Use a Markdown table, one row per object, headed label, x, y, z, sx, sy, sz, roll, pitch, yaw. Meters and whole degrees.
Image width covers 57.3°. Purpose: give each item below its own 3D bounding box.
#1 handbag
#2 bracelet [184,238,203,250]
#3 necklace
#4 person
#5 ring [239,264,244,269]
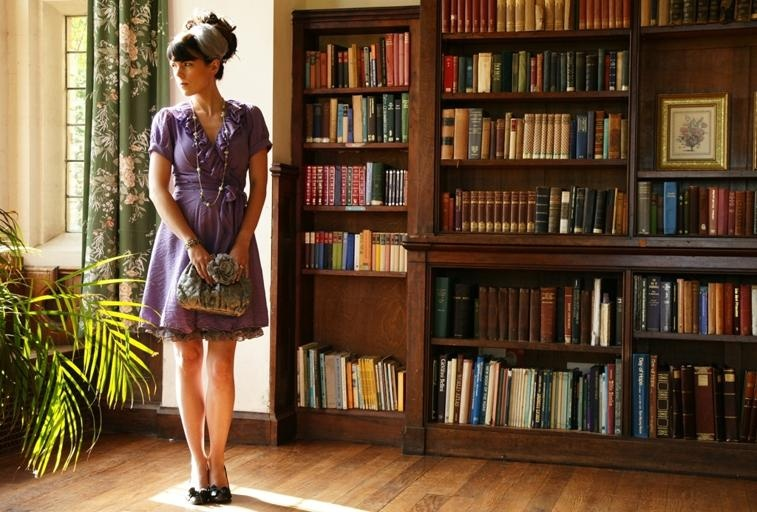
| label | x | y | z | sx | sy | sz | roll | pitch | yaw |
| --- | --- | --- | --- | --- | --- | --- | --- | --- | --- |
| handbag | -0.804 | 0.145 | 3.315 | 0.260 | 0.226 | 0.121 | 7 | 7 | -7 |
| bracelet | -0.899 | -0.058 | 3.335 | 0.067 | 0.043 | 0.026 | 0 | 4 | -12 |
| necklace | -0.843 | -0.469 | 3.419 | 0.208 | 0.457 | 0.068 | 0 | 4 | -11 |
| person | -0.856 | 0.014 | 3.455 | 0.646 | 2.443 | 0.402 | -1 | 4 | -18 |
| ring | -0.666 | 0.052 | 3.354 | 0.006 | 0.017 | 0.018 | -24 | -6 | 31 |
